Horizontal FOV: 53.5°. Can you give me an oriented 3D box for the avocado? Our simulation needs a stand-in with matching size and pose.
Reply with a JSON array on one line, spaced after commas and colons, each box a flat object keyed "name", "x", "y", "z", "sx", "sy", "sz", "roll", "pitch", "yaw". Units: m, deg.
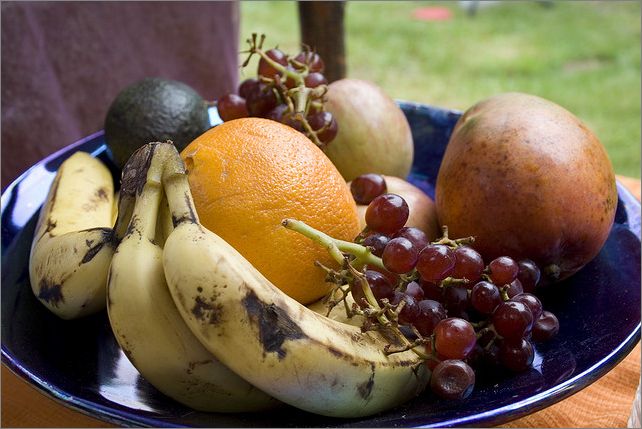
[{"name": "avocado", "x": -0.350, "y": -0.203, "z": 1.479, "sx": 0.218, "sy": 0.196, "sz": 0.200, "roll": -4, "pitch": 33, "yaw": 24}]

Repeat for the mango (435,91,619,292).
[{"name": "mango", "x": 0.390, "y": -0.032, "z": 1.366, "sx": 0.352, "sy": 0.345, "sz": 0.437, "roll": -7, "pitch": 86, "yaw": 16}]

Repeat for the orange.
[{"name": "orange", "x": -0.077, "y": -0.070, "z": 1.278, "sx": 0.356, "sy": 0.313, "sz": 0.344, "roll": -17, "pitch": 28, "yaw": -29}]

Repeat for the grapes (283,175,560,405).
[{"name": "grapes", "x": 0.173, "y": 0.125, "z": 1.175, "sx": 0.495, "sy": 0.219, "sz": 0.296, "roll": 30, "pitch": 45, "yaw": 10}]
